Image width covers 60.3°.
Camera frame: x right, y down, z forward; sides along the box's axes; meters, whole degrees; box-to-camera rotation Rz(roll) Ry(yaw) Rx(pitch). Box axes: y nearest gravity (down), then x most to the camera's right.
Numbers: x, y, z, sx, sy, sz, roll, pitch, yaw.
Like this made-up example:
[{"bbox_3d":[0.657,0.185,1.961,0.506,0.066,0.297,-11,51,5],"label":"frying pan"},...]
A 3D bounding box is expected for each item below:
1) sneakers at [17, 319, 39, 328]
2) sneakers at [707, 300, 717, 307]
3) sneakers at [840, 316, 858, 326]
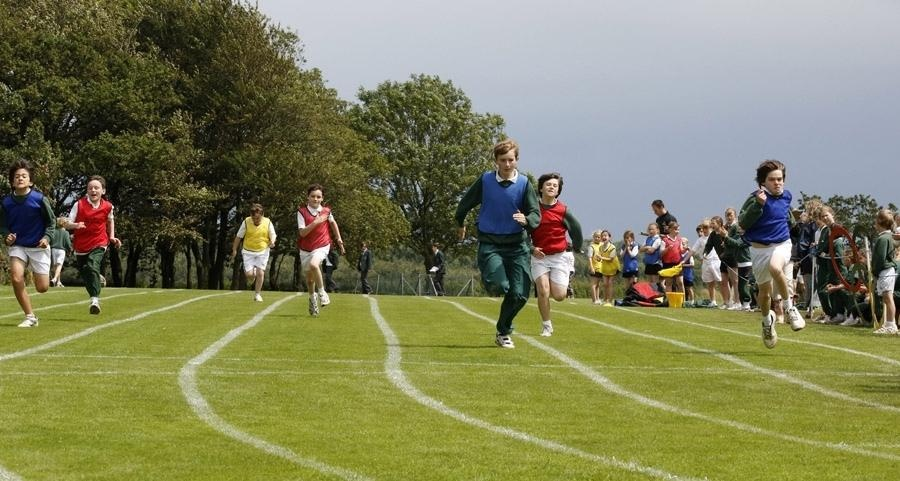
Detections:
[{"bbox_3d":[-9.532,1.869,17.634,0.528,0.184,0.178,0,5,10],"label":"sneakers"},{"bbox_3d":[9.670,2.319,28.797,0.252,0.253,0.657,1,1,23],"label":"sneakers"},{"bbox_3d":[10.592,2.182,20.855,0.589,0.219,0.189,-3,-4,17],"label":"sneakers"}]
